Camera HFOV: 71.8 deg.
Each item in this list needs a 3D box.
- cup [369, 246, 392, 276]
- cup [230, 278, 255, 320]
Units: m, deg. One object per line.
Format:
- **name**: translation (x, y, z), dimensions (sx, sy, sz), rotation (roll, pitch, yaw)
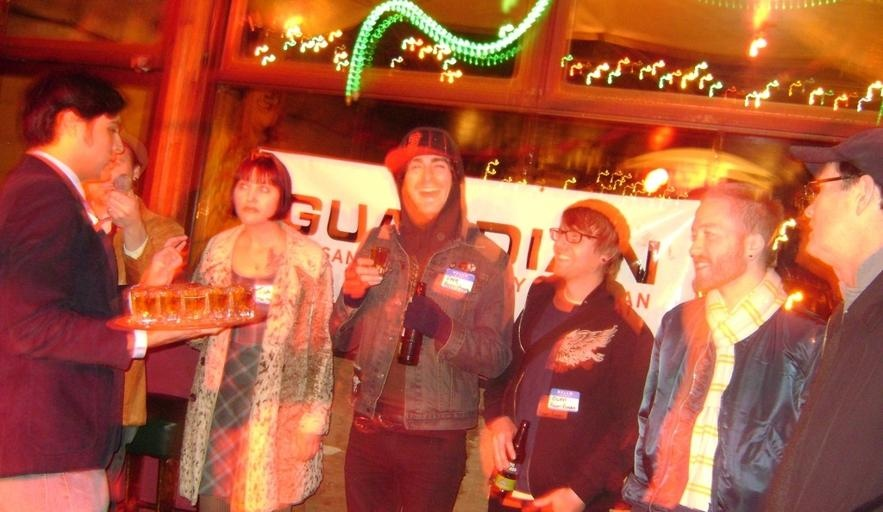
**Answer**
- **cup**: translation (-0.432, 0.017, 4.284), dimensions (0.130, 0.178, 0.194), rotation (-9, -13, 40)
- **cup**: translation (-1.316, 0.294, 4.033), dimensions (0.228, 0.286, 0.203), rotation (2, 8, -4)
